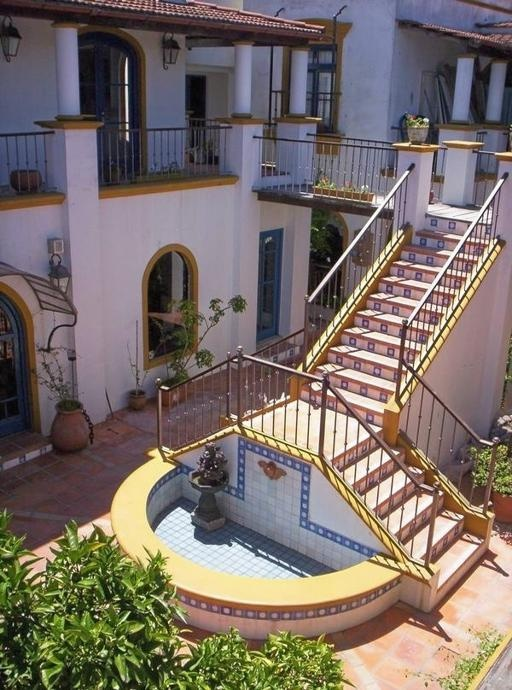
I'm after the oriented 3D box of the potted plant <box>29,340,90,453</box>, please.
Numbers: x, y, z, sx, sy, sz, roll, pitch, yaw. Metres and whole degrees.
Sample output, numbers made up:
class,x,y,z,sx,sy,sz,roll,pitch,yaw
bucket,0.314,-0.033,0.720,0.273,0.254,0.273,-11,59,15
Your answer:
class,x,y,z,sx,sy,sz,roll,pitch,yaw
potted plant,-2.985,0.828,8.938,0.697,1.679,0.713,-15,21,-42

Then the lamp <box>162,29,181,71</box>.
class,x,y,z,sx,sy,sz,roll,pitch,yaw
lamp,-1.752,-6.036,11.684,0.395,0.662,0.601,-2,16,-6

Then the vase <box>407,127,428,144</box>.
class,x,y,z,sx,sy,sz,roll,pitch,yaw
vase,2.886,-3.675,10.119,0.402,0.311,0.424,0,23,2

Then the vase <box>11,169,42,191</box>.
class,x,y,z,sx,sy,sz,roll,pitch,yaw
vase,-3.402,-2.422,8.409,0.442,0.335,0.377,-7,17,-22

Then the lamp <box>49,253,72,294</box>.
class,x,y,z,sx,sy,sz,roll,pitch,yaw
lamp,-2.971,-1.068,8.601,0.318,0.625,0.413,-5,16,-17

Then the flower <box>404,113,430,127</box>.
class,x,y,z,sx,sy,sz,roll,pitch,yaw
flower,2.877,-4.063,10.307,0.319,0.252,0.731,2,16,7

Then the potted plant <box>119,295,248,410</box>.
class,x,y,z,sx,sy,sz,roll,pitch,yaw
potted plant,-1.247,0.029,10.943,0.911,1.824,2.696,11,19,35
